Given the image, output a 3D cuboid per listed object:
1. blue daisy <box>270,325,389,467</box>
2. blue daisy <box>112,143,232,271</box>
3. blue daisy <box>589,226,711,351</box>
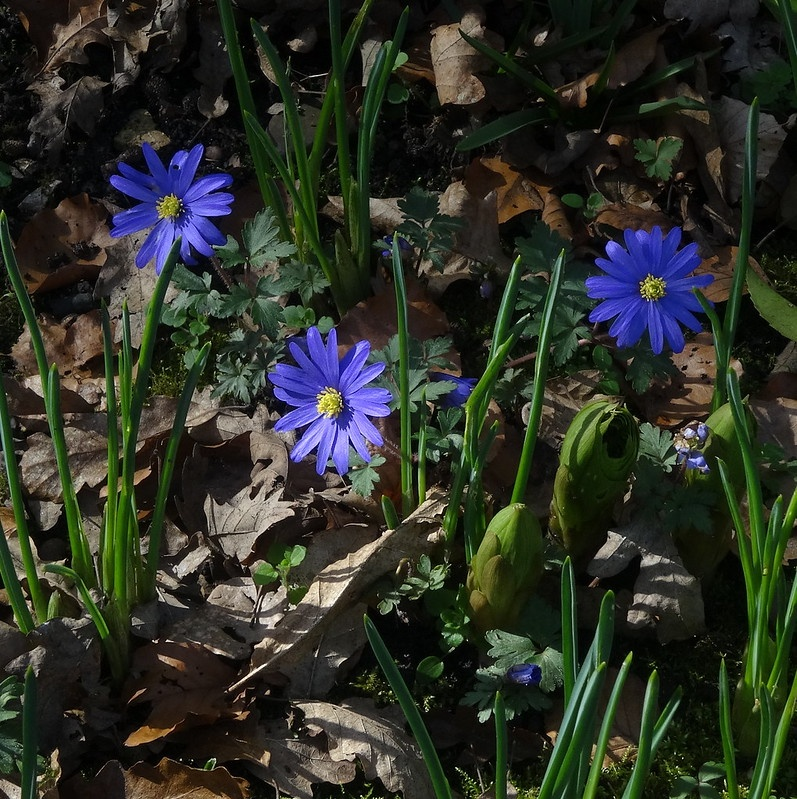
[{"bbox_3d":[-0.141,-0.011,1.713,0.260,0.267,0.066,-2,60,-10],"label":"blue daisy"},{"bbox_3d":[-0.495,-0.476,1.772,0.215,0.231,0.066,-6,60,-14],"label":"blue daisy"},{"bbox_3d":[0.544,-0.237,1.703,0.264,0.268,0.175,-4,36,10],"label":"blue daisy"}]
